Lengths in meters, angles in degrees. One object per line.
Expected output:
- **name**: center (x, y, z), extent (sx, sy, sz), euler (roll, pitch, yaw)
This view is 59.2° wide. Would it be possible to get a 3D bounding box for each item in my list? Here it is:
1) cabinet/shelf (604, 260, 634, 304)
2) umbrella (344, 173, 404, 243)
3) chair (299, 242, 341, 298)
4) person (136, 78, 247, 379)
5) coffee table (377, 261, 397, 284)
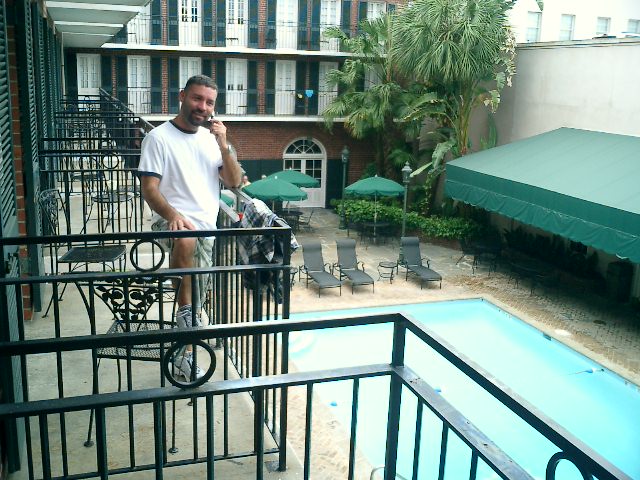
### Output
- **cabinet/shelf**: center (8.688, 1.123, 16.236), extent (0.668, 1.058, 0.915), euler (5, 15, 27)
- **umbrella**: center (2.451, -1.226, 21.902), extent (2.429, 2.443, 2.396), euler (11, 18, 40)
- **chair**: center (0.067, 0.820, 16.640), extent (0.960, 1.311, 1.552), euler (-4, 14, -12)
- **person**: center (-1.068, -0.151, 4.766), extent (0.841, 2.400, 1.484), euler (-3, 13, -7)
- **coffee table**: center (2.196, 1.023, 18.449), extent (0.564, 0.426, 0.581), euler (-1, 12, -10)
